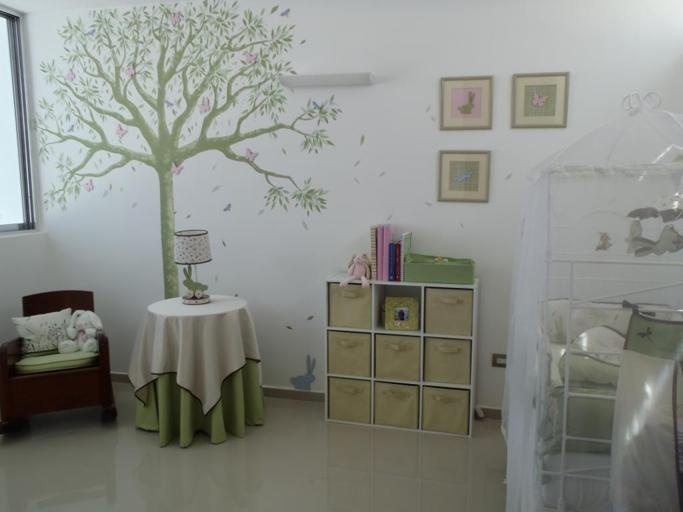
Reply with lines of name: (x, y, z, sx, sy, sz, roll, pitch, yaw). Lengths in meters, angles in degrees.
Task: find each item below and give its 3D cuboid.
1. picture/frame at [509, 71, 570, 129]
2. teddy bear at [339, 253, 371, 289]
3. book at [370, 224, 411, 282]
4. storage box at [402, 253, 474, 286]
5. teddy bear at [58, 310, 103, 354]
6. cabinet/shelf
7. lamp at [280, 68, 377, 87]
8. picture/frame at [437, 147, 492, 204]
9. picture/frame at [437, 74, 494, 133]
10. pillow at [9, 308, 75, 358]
picture/frame: (1.386, -1.082, 3.635, 0.359, 0.406, 0.026, 1, 5, 17)
teddy bear: (0.121, 0.098, 3.799, 0.192, 0.221, 0.339, 1, 22, 17)
book: (0.351, -0.033, 3.809, 0.284, 0.381, 0.236, 1, 13, 6)
storage box: (0.707, 0.083, 3.773, 0.495, 0.165, 0.292, 3, 14, 13)
teddy bear: (-1.999, 0.579, 4.026, 0.319, 0.345, 0.293, -3, -7, 29)
cabinet/shelf: (0.444, 0.681, 3.949, 1.085, 1.125, 0.449, 2, 8, 12)
lamp: (-0.114, -1.301, 3.909, 0.688, 0.097, 0.181, 4, 14, 15)
picture/frame: (0.885, -0.576, 3.819, 0.353, 0.398, 0.028, 2, -13, 10)
picture/frame: (0.902, -1.102, 3.758, 0.374, 0.423, 0.030, 1, 5, 7)
pillow: (-2.247, 0.586, 3.969, 0.265, 0.271, 0.102, -7, -12, -25)
